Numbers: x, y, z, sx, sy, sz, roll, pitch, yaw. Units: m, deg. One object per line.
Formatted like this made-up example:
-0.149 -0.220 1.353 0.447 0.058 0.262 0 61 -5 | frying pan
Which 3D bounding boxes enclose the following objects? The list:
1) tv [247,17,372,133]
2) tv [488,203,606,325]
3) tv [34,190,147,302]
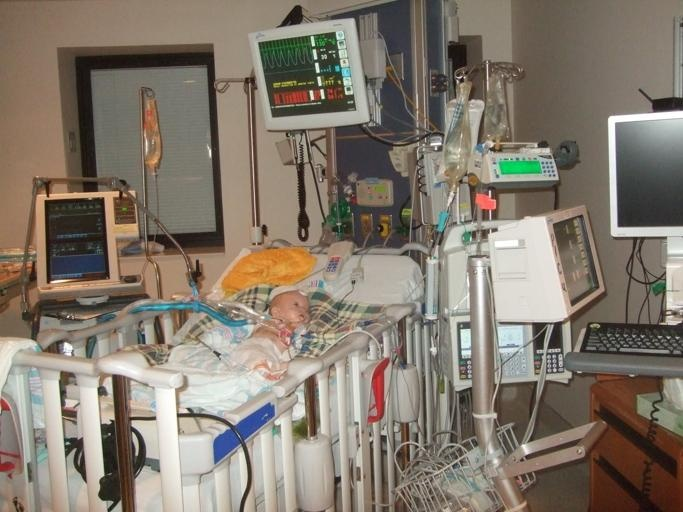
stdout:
-0.154 -1.017 3.189 0.830 0.774 0.116 -2 24 29 | tv
0.723 0.036 1.949 0.272 0.425 0.509 -15 -1 37 | tv
-1.490 -0.056 3.307 0.648 0.702 0.340 -2 1 -17 | tv
